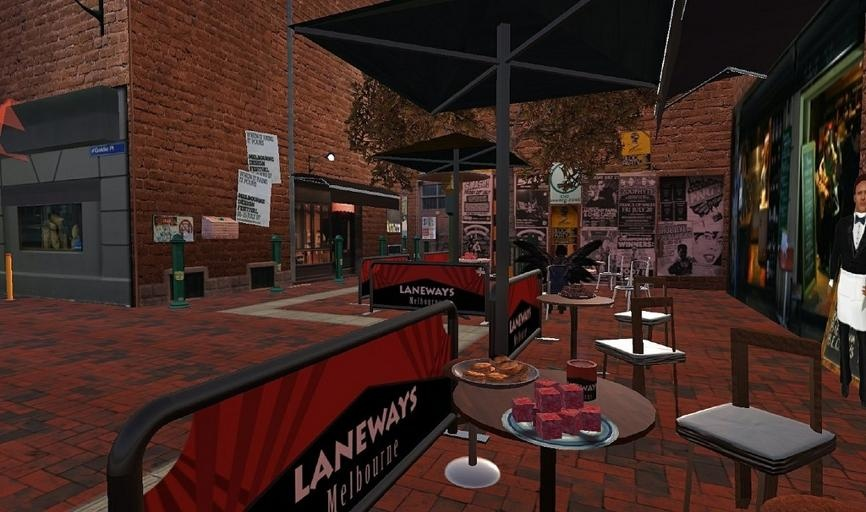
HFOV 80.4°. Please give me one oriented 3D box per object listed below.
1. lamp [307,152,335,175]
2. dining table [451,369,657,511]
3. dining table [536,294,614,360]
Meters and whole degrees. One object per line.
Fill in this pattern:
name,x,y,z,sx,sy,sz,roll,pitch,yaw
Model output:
lamp,-4.135,-3.456,18.680,1.314,0.814,0.504,-14,-19,36
dining table,1.657,1.899,6.423,1.914,1.979,1.972,4,6,34
dining table,2.765,1.263,9.654,1.393,1.412,1.339,-1,8,-13
